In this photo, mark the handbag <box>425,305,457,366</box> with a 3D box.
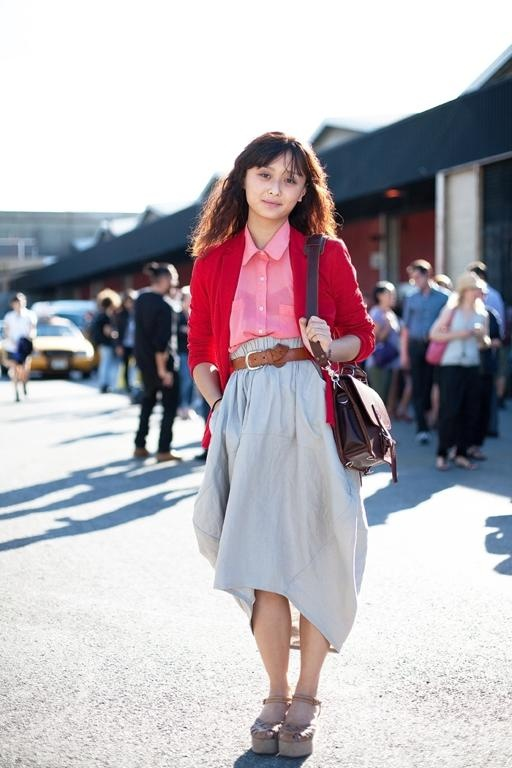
[{"bbox_3d":[1.739,-0.437,7.028,0.186,0.528,0.347,-1,3,-20],"label":"handbag"}]

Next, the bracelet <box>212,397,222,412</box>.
[{"bbox_3d":[-0.118,0.065,2.170,0.010,0.038,0.030,33,21,27],"label":"bracelet"}]

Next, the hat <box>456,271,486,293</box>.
[{"bbox_3d":[1.988,-0.927,6.812,0.308,0.177,0.223,0,3,-15],"label":"hat"}]

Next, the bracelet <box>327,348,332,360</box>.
[{"bbox_3d":[0.201,-0.078,2.012,0.009,0.028,0.020,13,-18,5],"label":"bracelet"}]

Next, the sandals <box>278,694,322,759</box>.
[{"bbox_3d":[0.110,0.923,1.960,0.056,0.073,0.178,-1,-9,10],"label":"sandals"}]

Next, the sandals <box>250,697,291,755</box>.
[{"bbox_3d":[0.039,0.929,1.982,0.053,0.071,0.174,-2,-10,11],"label":"sandals"}]

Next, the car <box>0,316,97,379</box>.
[{"bbox_3d":[-5.487,-1.142,21.178,1.929,1.375,4.200,0,-4,-8],"label":"car"}]

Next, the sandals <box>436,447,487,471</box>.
[{"bbox_3d":[1.836,0.726,6.998,0.554,0.229,0.180,-5,-2,26],"label":"sandals"}]

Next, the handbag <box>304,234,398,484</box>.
[{"bbox_3d":[0.269,-0.063,2.132,0.245,0.734,0.399,1,3,21],"label":"handbag"}]

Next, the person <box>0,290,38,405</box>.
[{"bbox_3d":[-2.448,-0.451,7.544,0.329,0.993,1.132,0,3,-15],"label":"person"}]

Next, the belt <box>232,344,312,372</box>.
[{"bbox_3d":[0.051,-0.085,2.113,0.135,0.050,0.096,-4,-7,-40],"label":"belt"}]

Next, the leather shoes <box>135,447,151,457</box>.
[{"bbox_3d":[-1.224,0.747,7.845,0.115,0.078,0.109,0,-10,-3],"label":"leather shoes"}]
